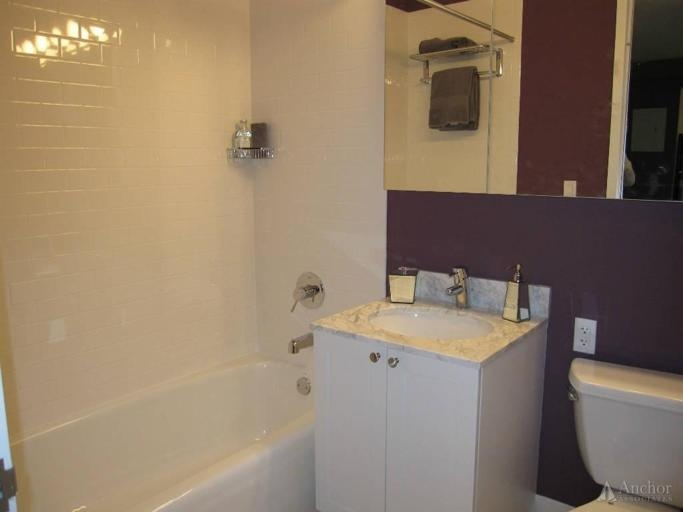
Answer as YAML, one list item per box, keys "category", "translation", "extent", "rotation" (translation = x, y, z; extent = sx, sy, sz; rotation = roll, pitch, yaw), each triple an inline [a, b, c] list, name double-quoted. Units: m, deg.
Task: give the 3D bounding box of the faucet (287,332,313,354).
- category: "faucet"
  translation: [-0.188, 0.427, 2.514]
  extent: [0.084, 0.053, 0.139]
  rotation: [-7, 19, 46]

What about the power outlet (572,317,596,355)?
- category: "power outlet"
  translation: [1.007, 0.327, 2.118]
  extent: [0.079, 0.152, 0.012]
  rotation: [5, 17, 26]

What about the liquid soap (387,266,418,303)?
- category: "liquid soap"
  translation: [0.286, 0.118, 2.393]
  extent: [0.134, 0.198, 0.146]
  rotation: [6, 12, 27]

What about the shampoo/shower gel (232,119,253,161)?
- category: "shampoo/shower gel"
  translation: [-0.579, -0.683, 3.003]
  extent: [0.115, 0.216, 0.115]
  rotation: [7, 11, 35]

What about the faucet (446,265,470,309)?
- category: "faucet"
  translation: [0.510, 0.151, 2.254]
  extent: [0.118, 0.187, 0.058]
  rotation: [-20, 20, -35]

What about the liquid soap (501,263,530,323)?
- category: "liquid soap"
  translation: [0.748, 0.148, 2.163]
  extent: [0.107, 0.228, 0.161]
  rotation: [3, 8, 25]
